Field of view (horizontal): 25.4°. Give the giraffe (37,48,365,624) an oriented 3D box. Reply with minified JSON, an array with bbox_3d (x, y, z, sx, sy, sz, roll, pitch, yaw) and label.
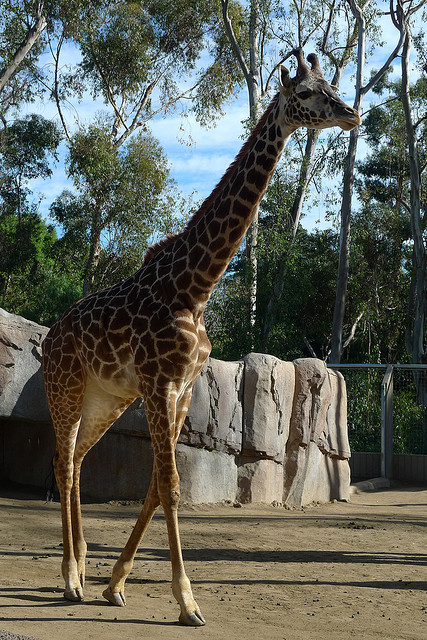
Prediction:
[{"bbox_3d":[-0.324,0.016,6.207,2.005,3.621,0.878,2,0,28],"label":"giraffe"}]
